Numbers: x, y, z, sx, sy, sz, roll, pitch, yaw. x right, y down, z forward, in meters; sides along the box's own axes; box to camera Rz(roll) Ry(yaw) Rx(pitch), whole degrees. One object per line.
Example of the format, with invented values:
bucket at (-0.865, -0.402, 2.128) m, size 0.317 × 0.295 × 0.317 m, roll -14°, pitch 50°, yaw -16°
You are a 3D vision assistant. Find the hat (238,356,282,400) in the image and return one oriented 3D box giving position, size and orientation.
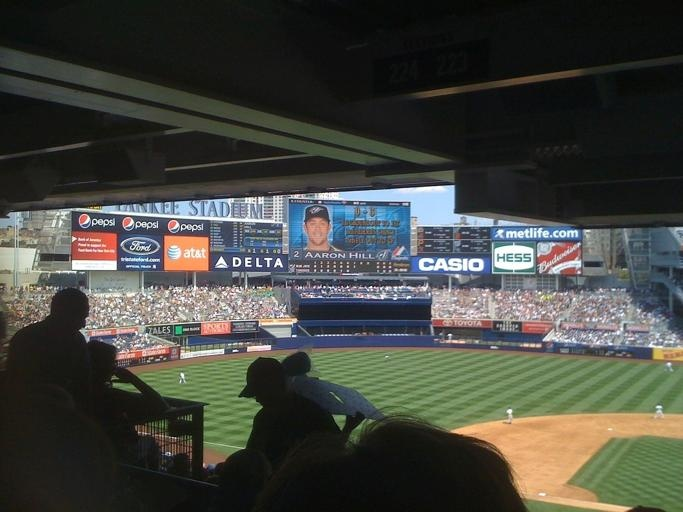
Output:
hat at (-0.502, 0.787, 3.824) m, size 0.204 × 0.269 × 0.310 m, roll 2°, pitch -2°, yaw -33°
